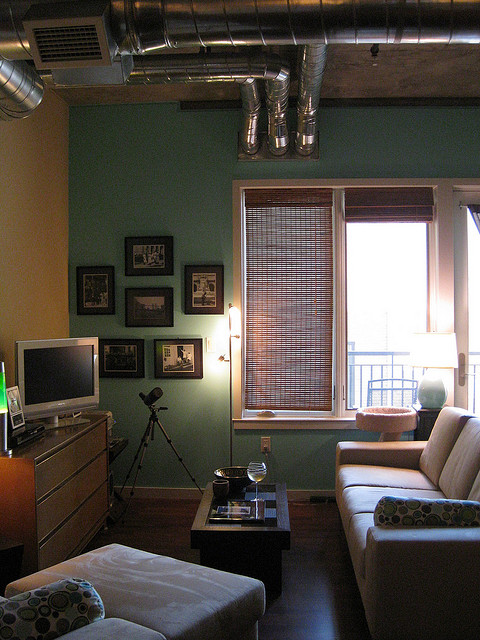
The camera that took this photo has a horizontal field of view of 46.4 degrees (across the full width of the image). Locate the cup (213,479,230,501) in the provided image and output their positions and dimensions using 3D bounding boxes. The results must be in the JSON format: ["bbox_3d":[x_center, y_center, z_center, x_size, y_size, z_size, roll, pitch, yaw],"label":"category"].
[{"bbox_3d":[-0.103,0.943,3.092,0.090,0.093,0.083,0,0,0],"label":"cup"}]

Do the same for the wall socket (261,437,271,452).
[{"bbox_3d":[0.197,0.933,4.180,0.101,0.154,0.019,0,-2,5],"label":"wall socket"}]

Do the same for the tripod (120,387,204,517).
[{"bbox_3d":[-0.575,0.826,3.938,0.454,0.930,0.403,1,1,-12],"label":"tripod"}]

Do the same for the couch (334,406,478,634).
[{"bbox_3d":[0.908,0.952,2.912,0.703,0.820,1.540,0,3,5],"label":"couch"}]

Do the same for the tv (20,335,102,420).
[{"bbox_3d":[-1.070,0.350,3.334,0.049,0.383,0.497,0,0,25],"label":"tv"}]

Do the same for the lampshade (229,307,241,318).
[{"bbox_3d":[-0.028,-0.057,4.085,0.104,0.075,0.047,-2,3,-33],"label":"lampshade"}]
